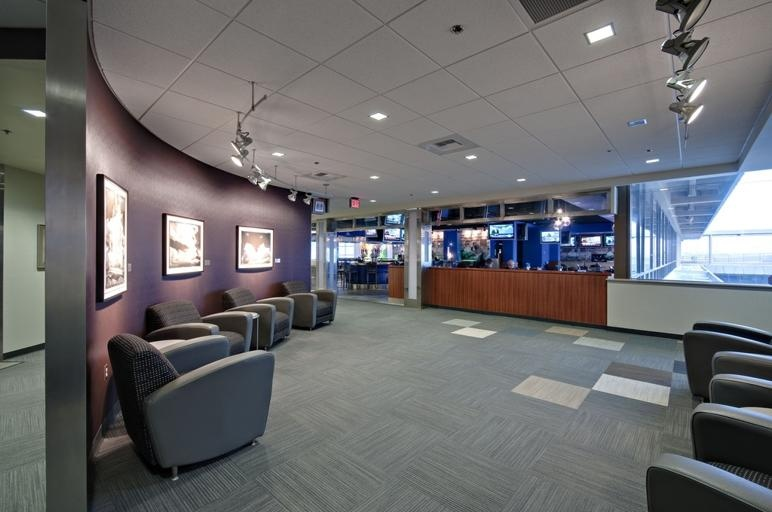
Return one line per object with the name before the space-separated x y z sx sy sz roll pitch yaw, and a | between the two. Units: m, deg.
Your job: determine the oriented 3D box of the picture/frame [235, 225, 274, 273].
picture/frame | -2.574 -0.137 8.836 0.059 0.820 1.006 0 1 26
